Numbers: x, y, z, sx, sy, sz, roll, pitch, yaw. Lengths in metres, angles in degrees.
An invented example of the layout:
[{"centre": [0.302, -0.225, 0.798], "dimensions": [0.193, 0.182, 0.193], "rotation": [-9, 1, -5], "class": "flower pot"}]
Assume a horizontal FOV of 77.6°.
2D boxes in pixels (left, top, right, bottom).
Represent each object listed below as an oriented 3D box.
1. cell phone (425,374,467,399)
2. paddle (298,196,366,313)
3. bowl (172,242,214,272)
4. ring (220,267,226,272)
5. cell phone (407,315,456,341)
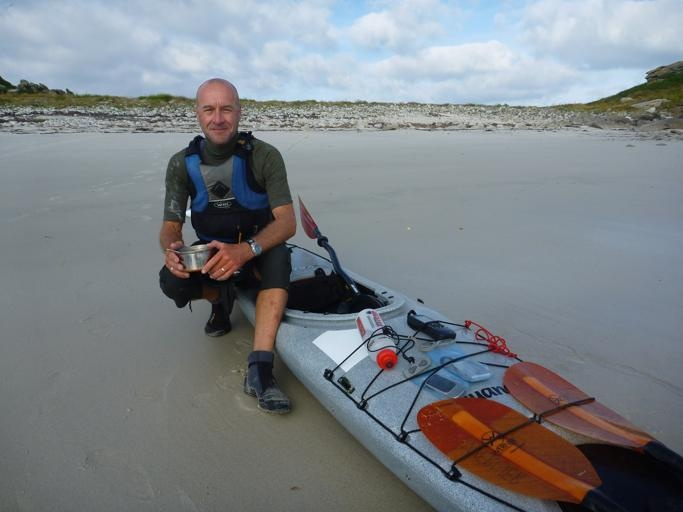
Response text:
[{"centre": [0.580, 0.738, 2.389], "dimensions": [0.173, 0.035, 0.105], "rotation": [14, 28, 43], "class": "cell phone"}, {"centre": [-0.107, 0.006, 3.551], "dimensions": [0.138, 1.116, 0.119], "rotation": [-31, 2, 2], "class": "paddle"}, {"centre": [-0.923, 0.030, 2.697], "dimensions": [0.196, 0.200, 0.154], "rotation": [16, 26, 28], "class": "bowl"}, {"centre": [-0.749, 0.083, 2.676], "dimensions": [0.034, 0.029, 0.010], "rotation": [7, -5, -4], "class": "ring"}, {"centre": [0.589, 0.474, 2.799], "dimensions": [0.130, 0.076, 0.237], "rotation": [-7, 22, -44], "class": "cell phone"}]
